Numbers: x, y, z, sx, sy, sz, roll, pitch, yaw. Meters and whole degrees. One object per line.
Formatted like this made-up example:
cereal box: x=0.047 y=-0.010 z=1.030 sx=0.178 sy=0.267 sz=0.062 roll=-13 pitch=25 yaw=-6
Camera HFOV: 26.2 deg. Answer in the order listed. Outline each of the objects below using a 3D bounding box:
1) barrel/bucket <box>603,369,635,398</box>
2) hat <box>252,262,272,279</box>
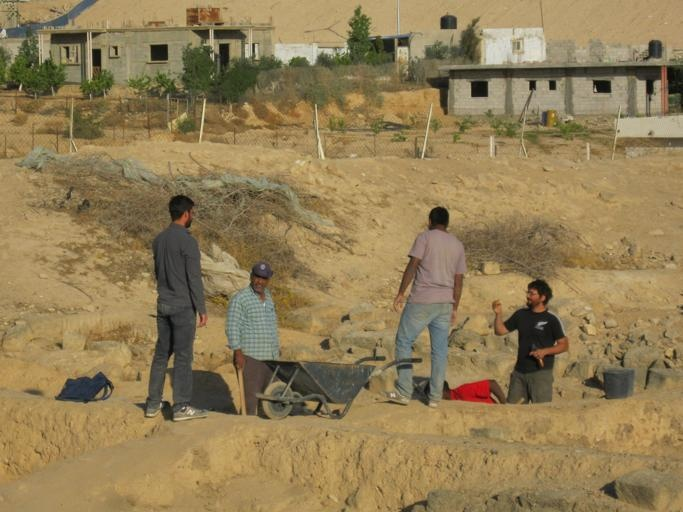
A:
barrel/bucket: x=7.349 y=3.372 z=38.814 sx=0.700 sy=0.767 sz=0.728 roll=-2 pitch=-1 yaw=0
hat: x=-2.073 y=0.353 z=38.319 sx=0.489 sy=0.438 sz=0.251 roll=1 pitch=5 yaw=-3
